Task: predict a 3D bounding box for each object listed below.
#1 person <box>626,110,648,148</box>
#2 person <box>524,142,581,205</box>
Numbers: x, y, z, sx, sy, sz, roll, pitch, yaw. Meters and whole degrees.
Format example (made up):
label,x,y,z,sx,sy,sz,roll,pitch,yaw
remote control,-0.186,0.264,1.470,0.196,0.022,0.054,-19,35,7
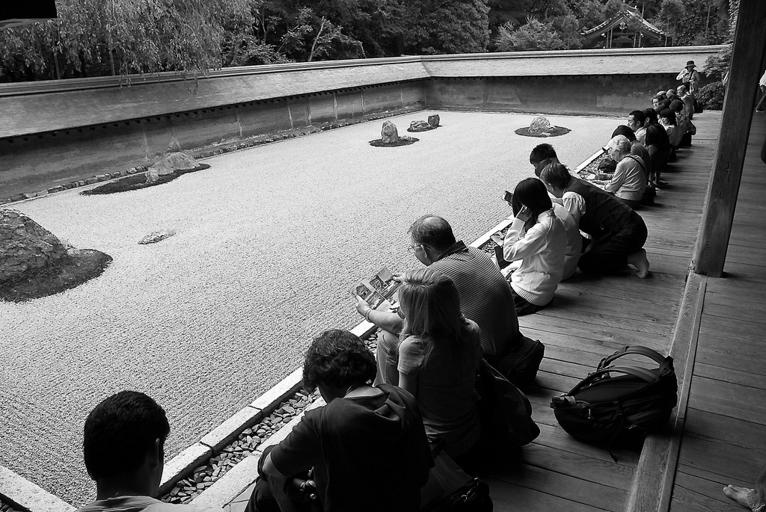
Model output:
label,x,y,z,sx,sy,sz,roll,pitch,yaw
person,5.393,-2.669,9.226,0.383,0.668,0.719,-9,17,9
person,2.321,-1.164,5.974,0.544,0.840,0.498,4,19,45
